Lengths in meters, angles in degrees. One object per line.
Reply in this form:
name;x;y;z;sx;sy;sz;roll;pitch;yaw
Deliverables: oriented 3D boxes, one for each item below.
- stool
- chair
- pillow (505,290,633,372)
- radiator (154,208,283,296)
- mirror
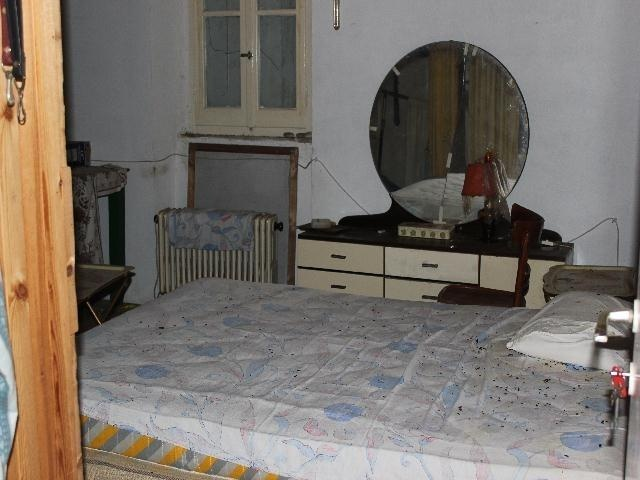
stool;-1.351;0.263;3.371;0.384;0.133;0.576;-1;29;-34
chair;1.023;0.047;3.509;0.660;0.916;0.545;3;12;9
pillow;1.095;0.310;2.442;0.492;0.140;0.569;11;30;42
radiator;-0.724;0.060;4.238;0.678;0.520;0.221;2;9;11
mirror;0.930;-0.769;3.944;1.179;1.270;0.131;10;12;21
